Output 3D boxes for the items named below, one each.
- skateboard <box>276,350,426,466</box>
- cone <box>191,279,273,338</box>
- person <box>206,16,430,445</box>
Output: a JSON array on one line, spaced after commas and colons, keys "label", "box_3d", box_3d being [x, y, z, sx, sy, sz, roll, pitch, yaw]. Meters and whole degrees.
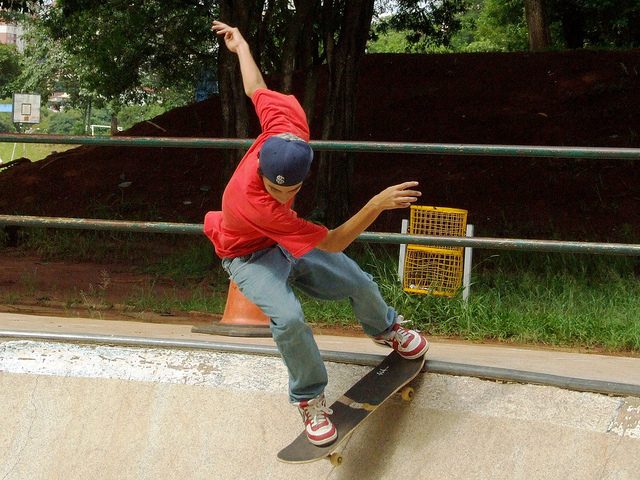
[{"label": "skateboard", "box_3d": [0.188, 0.865, 3.033, 0.260, 0.182, 1.037, 2, 22, 44]}, {"label": "cone", "box_3d": [-0.597, 0.480, 4.052, 0.443, 0.276, 0.539, -8, 13, -38]}, {"label": "person", "box_3d": [-0.060, -0.019, 3.162, 1.227, 1.865, 0.673, 7, 13, 36]}]
